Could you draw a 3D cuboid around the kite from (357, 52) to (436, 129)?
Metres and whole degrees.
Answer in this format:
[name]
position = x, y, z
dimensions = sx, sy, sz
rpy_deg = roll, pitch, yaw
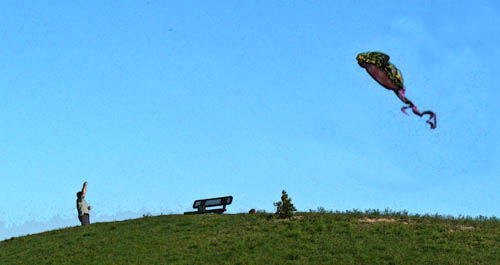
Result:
[kite]
position = 9.213, -3.499, 42.218
dimensions = 5.808, 2.275, 2.246
rpy_deg = 36, -37, 2

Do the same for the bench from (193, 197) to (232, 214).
[bench]
position = -3.958, 7.675, 66.622
dimensions = 4.894, 1.745, 1.446
rpy_deg = -10, -17, 30
